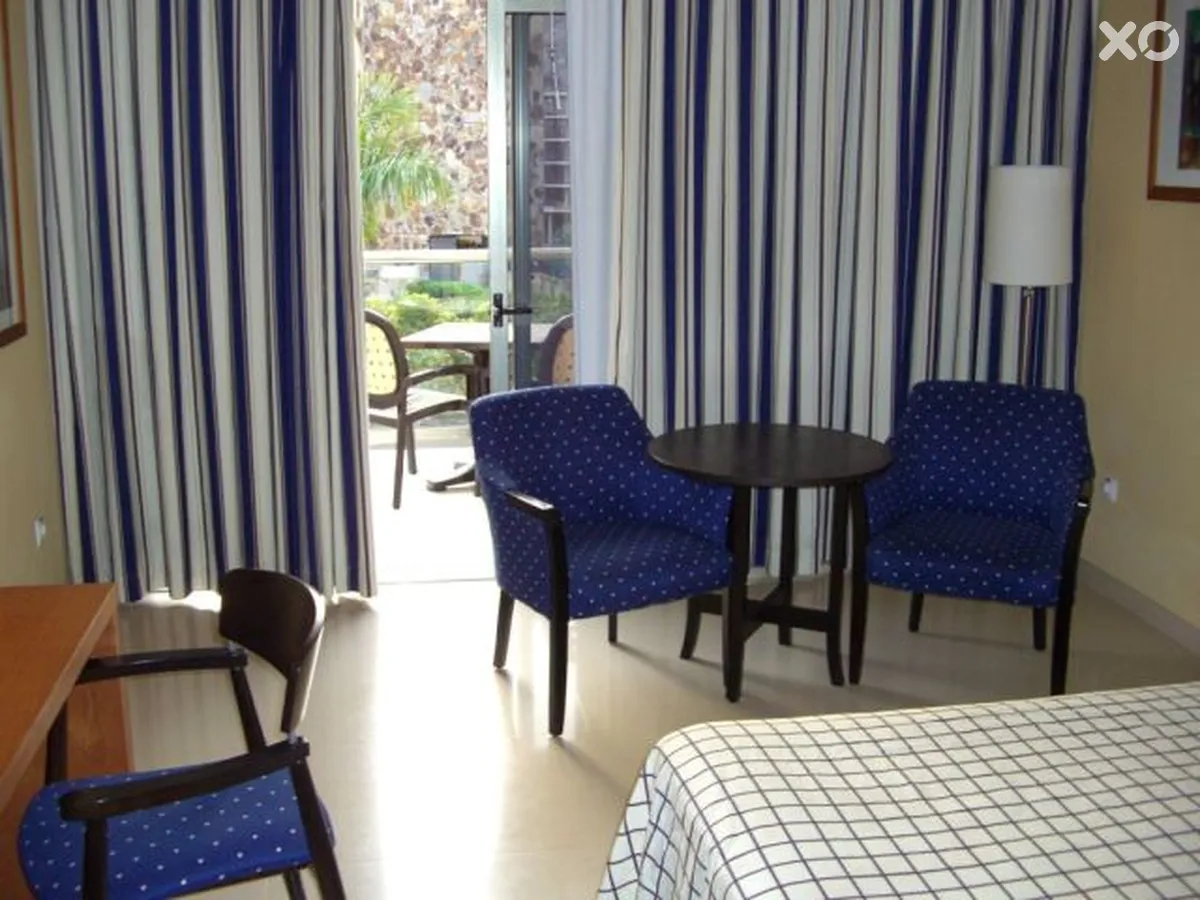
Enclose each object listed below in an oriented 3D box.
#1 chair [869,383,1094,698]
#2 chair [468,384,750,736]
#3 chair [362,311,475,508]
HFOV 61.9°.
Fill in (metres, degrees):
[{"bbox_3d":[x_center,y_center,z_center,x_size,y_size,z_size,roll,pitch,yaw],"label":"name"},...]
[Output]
[{"bbox_3d":[1.398,0.309,3.742,0.894,1.112,0.980,1,7,-4],"label":"chair"},{"bbox_3d":[0.023,0.337,3.695,0.861,1.097,0.984,-3,8,-7],"label":"chair"},{"bbox_3d":[-1.113,-0.283,5.824,0.701,1.104,0.740,-5,15,-31],"label":"chair"}]
